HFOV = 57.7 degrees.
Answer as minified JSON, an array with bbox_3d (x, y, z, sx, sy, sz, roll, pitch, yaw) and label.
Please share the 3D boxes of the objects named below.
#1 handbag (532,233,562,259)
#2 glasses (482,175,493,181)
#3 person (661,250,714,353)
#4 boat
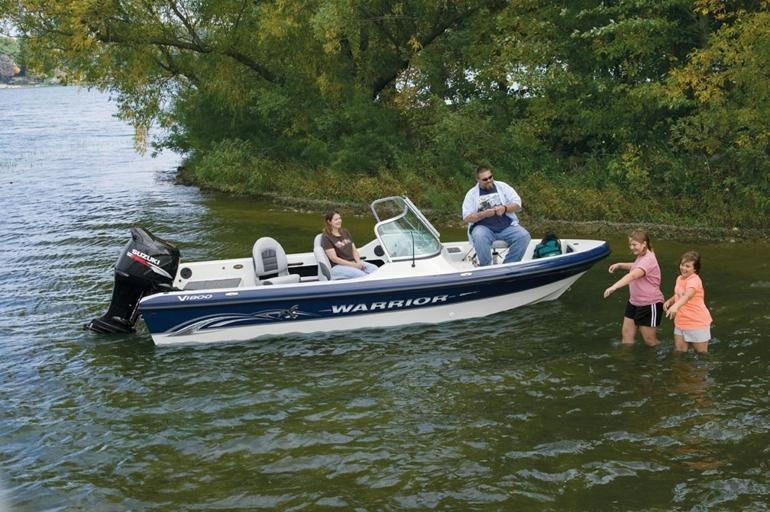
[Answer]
[{"bbox_3d":[3.057,-0.189,13.115,0.721,0.489,0.385,2,4,13],"label":"handbag"},{"bbox_3d":[1.875,-1.430,12.852,0.216,0.108,0.080,-4,6,-20],"label":"glasses"},{"bbox_3d":[4.710,0.740,10.930,0.639,1.650,0.677,-2,7,19],"label":"person"},{"bbox_3d":[-1.007,0.175,12.324,8.277,2.379,1.166,-3,6,-6],"label":"boat"}]
